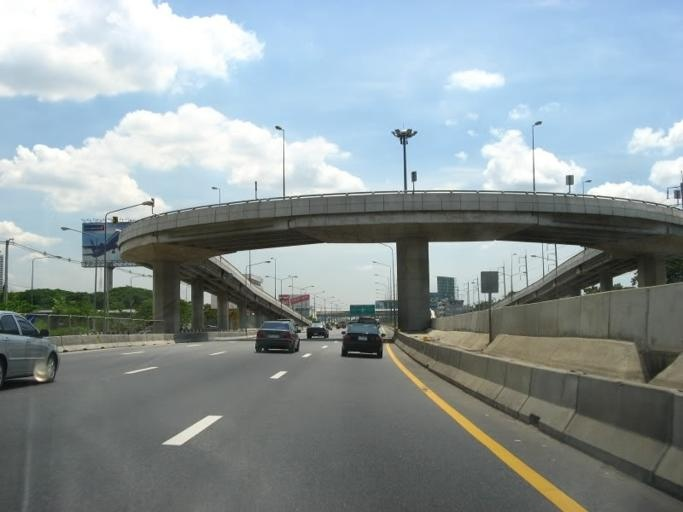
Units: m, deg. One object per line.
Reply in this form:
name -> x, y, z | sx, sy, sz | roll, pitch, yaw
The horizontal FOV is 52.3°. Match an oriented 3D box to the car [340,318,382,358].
car -> 0.835, 3.437, 27.975 | 1.529, 1.288, 1.860 | 0, -4, -1
